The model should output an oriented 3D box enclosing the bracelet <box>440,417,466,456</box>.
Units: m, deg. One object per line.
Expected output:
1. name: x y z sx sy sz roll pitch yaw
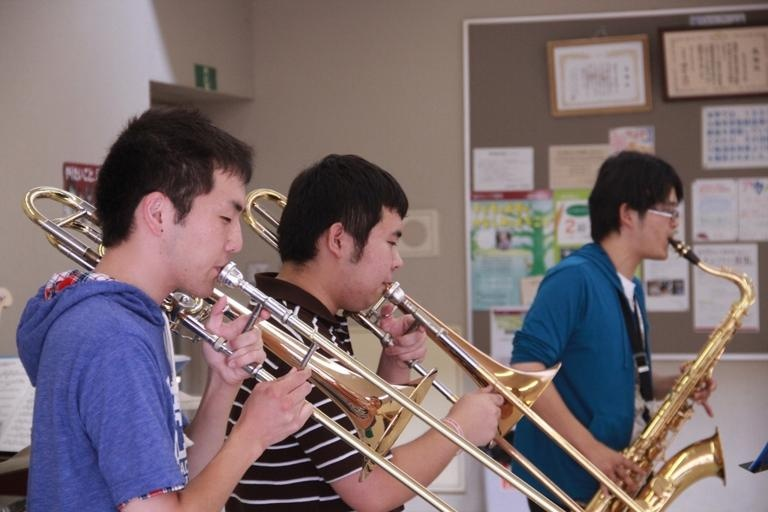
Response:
1. bracelet: 0.213 0.546 2.188 0.022 0.090 0.091 -40 15 20
